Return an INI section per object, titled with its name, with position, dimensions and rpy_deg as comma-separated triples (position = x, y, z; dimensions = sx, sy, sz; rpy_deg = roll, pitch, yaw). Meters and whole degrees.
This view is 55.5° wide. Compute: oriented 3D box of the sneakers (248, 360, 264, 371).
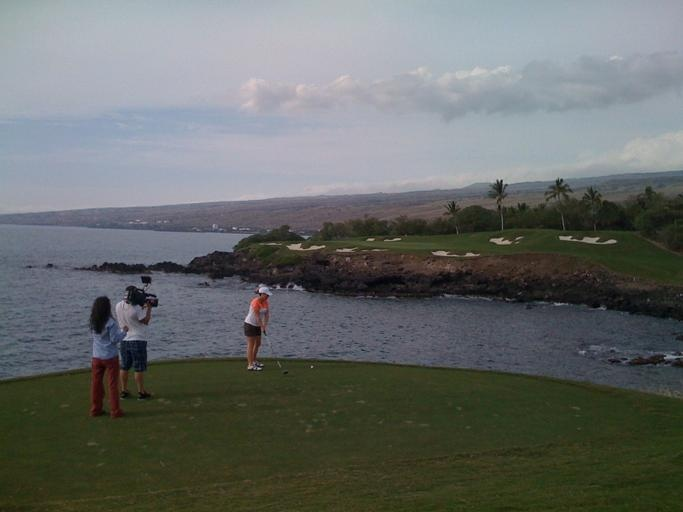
[sneakers]
position = -2.955, 3.880, 22.782
dimensions = 0.656, 0.261, 0.236
rpy_deg = 1, -2, -40
